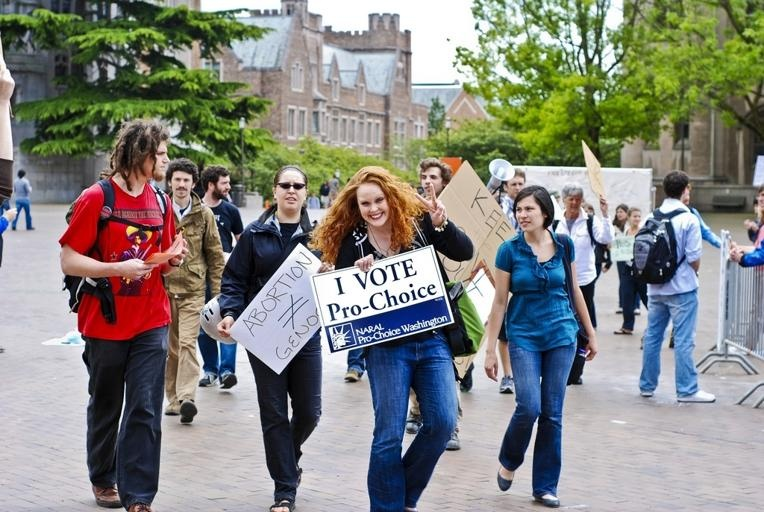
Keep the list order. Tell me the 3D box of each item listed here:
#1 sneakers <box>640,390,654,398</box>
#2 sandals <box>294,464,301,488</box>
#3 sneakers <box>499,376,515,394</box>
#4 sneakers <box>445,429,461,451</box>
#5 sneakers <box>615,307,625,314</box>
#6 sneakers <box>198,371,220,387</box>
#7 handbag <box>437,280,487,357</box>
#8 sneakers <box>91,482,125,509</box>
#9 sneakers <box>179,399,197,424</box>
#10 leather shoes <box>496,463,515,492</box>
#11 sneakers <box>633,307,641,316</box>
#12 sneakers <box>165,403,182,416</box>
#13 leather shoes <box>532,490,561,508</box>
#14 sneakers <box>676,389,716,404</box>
[{"bbox_3d":[3.015,1.569,10.280,0.055,0.066,0.148,0,-12,4],"label":"sneakers"},{"bbox_3d":[-0.692,1.792,7.398,0.056,0.179,0.072,2,3,6],"label":"sandals"},{"bbox_3d":[1.420,1.476,10.355,0.179,0.228,0.514,0,-9,2],"label":"sneakers"},{"bbox_3d":[0.675,1.698,8.428,0.174,0.237,0.544,-1,-8,6],"label":"sneakers"},{"bbox_3d":[4.372,1.011,16.624,0.079,0.168,0.232,2,-3,-44],"label":"sneakers"},{"bbox_3d":[-2.053,1.441,10.572,0.102,0.119,0.270,0,-14,7],"label":"sneakers"},{"bbox_3d":[0.630,0.499,6.948,0.285,0.616,0.637,2,6,8],"label":"handbag"},{"bbox_3d":[-2.190,1.894,7.184,0.130,0.162,0.359,1,-5,-34],"label":"sneakers"},{"bbox_3d":[-1.947,1.550,9.011,0.116,0.134,0.313,5,-47,-9],"label":"sneakers"},{"bbox_3d":[1.022,1.837,7.535,0.122,0.231,0.201,2,6,8],"label":"leather shoes"},{"bbox_3d":[4.611,0.986,16.325,0.108,0.148,0.335,-1,-4,3],"label":"sneakers"},{"bbox_3d":[-2.176,1.596,9.415,0.168,0.181,0.107,-10,-18,21],"label":"sneakers"},{"bbox_3d":[1.330,1.944,7.259,0.094,0.084,0.217,-1,0,-30],"label":"leather shoes"},{"bbox_3d":[3.509,1.572,10.121,0.427,0.196,0.162,-1,-3,3],"label":"sneakers"}]
